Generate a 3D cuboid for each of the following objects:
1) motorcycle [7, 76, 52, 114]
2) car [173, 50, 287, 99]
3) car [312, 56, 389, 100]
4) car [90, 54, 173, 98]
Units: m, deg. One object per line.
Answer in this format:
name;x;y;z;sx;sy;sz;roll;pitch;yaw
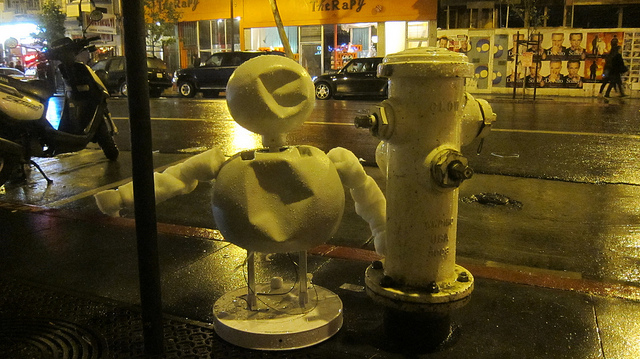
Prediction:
motorcycle;-4.575;-1.354;7.934;0.600;0.210;0.422;29;11;3
car;-5.238;-4.993;24.037;3.926;2.158;1.623;6;17;19
car;1.849;-4.720;22.356;4.407;1.895;2.457;5;28;20
car;-9.448;-4.969;24.382;2.674;2.128;5.068;-14;22;-39
